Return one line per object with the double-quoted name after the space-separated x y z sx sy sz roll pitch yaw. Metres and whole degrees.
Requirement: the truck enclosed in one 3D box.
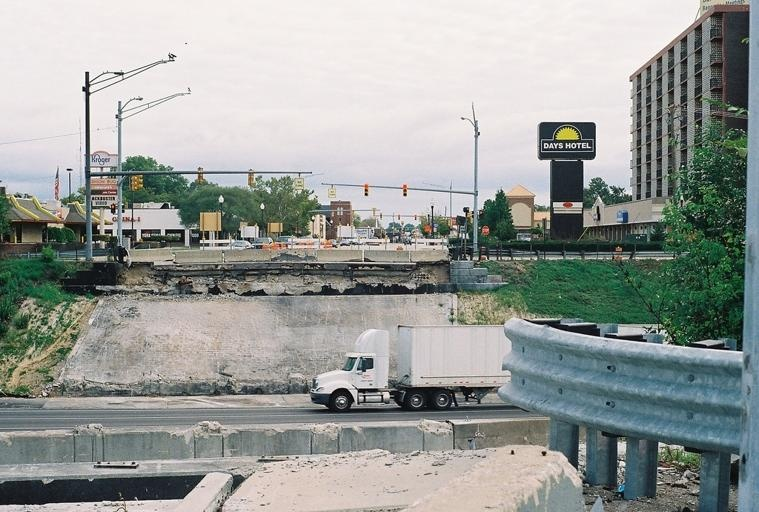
2.227 6.697 83.928 10.973 5.074 2.806 -3 6 -1 "truck"
